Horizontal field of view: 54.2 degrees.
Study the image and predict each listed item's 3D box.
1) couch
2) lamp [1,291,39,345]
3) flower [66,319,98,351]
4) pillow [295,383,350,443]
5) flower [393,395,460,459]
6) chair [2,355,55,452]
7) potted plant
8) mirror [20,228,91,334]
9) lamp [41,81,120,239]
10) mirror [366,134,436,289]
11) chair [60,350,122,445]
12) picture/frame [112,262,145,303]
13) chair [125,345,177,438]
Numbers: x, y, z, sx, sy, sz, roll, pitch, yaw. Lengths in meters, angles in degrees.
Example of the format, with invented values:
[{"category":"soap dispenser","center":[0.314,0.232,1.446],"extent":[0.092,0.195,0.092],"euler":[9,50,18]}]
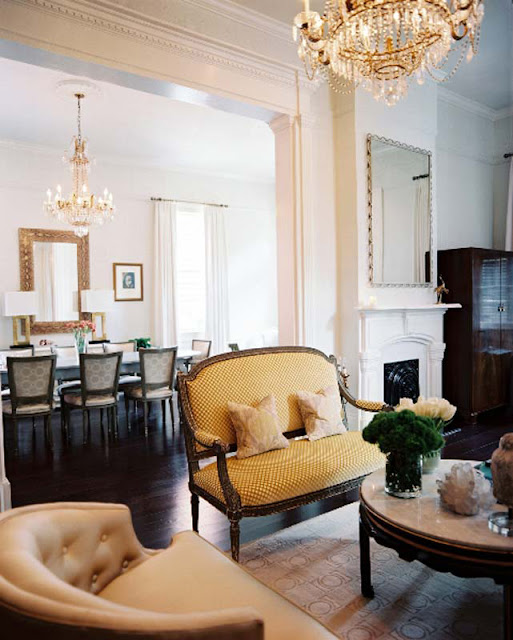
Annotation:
[{"category":"couch","center":[0.215,0.705,2.903],"extent":[1.286,0.948,0.662],"euler":[-3,6,-38]},{"category":"lamp","center":[-2.995,-0.009,6.341],"extent":[0.389,0.665,0.786],"euler":[-1,1,-27]},{"category":"flower","center":[-2.261,0.195,6.435],"extent":[0.344,0.475,0.355],"euler":[3,5,33]},{"category":"pillow","center":[0.427,0.595,3.218],"extent":[0.375,0.305,0.178],"euler":[-1,2,-44]},{"category":"flower","center":[0.807,0.474,2.344],"extent":[0.255,0.292,0.289],"euler":[-13,-3,-27]},{"category":"chair","center":[-2.164,0.755,4.765],"extent":[0.452,0.865,0.770],"euler":[-1,1,-27]},{"category":"potted plant","center":[0.617,0.554,2.093],"extent":[0.340,0.354,0.274],"euler":[-4,-3,38]},{"category":"mirror","center":[-2.792,-0.543,6.920],"extent":[0.966,1.520,0.062],"euler":[-2,-9,-9]},{"category":"lamp","center":[-2.052,-1.822,5.835],"extent":[0.683,1.655,0.691],"euler":[0,6,-3]},{"category":"mirror","center":[1.397,-1.092,4.908],"extent":[0.081,1.785,1.532],"euler":[4,6,43]},{"category":"chair","center":[-1.645,0.750,5.099],"extent":[0.552,0.892,0.534],"euler":[3,4,39]},{"category":"picture/frame","center":[-1.951,-0.566,7.525],"extent":[0.049,0.736,0.616],"euler":[0,1,43]},{"category":"chair","center":[-1.121,0.729,5.494],"extent":[0.485,0.886,0.523],"euler":[-3,3,-43]}]
